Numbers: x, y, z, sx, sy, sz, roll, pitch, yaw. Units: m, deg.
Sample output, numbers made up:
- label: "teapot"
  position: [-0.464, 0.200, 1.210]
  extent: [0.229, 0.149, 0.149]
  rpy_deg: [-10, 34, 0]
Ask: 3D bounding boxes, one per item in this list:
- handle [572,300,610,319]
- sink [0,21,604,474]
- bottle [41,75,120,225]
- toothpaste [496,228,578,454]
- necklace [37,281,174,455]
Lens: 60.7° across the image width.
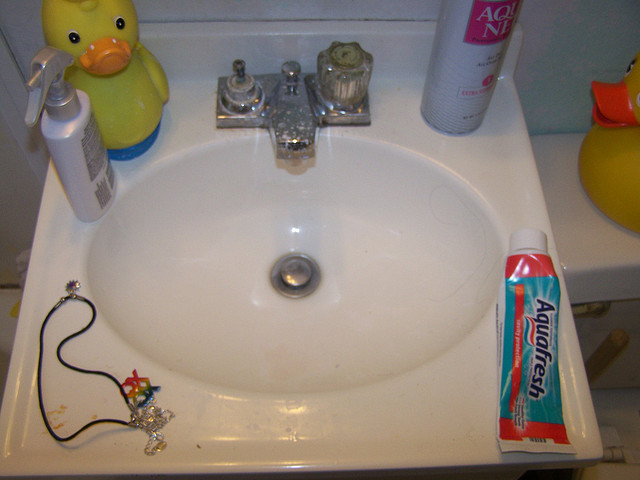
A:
- label: "handle"
  position: [0.511, 0.129, 1.033]
  extent: [0.076, 0.026, 0.022]
  rpy_deg: [-13, 45, 19]
- label: "sink"
  position: [-0.031, -0.007, 0.768]
  extent: [0.720, 0.241, 0.609]
  rpy_deg: [0, 58, -3]
- label: "bottle"
  position: [-0.314, -0.118, 0.707]
  extent: [0.063, 0.188, 0.089]
  rpy_deg: [-16, 57, -13]
- label: "toothpaste"
  position: [0.267, 0.121, 0.690]
  extent: [0.095, 0.075, 0.271]
  rpy_deg: [4, 58, 0]
- label: "necklace"
  position: [-0.286, 0.177, 0.670]
  extent: [0.127, 0.029, 0.243]
  rpy_deg: [-39, 68, -23]
